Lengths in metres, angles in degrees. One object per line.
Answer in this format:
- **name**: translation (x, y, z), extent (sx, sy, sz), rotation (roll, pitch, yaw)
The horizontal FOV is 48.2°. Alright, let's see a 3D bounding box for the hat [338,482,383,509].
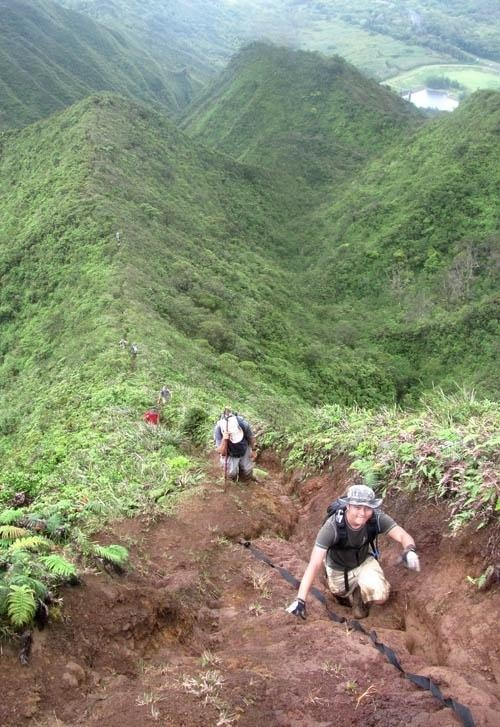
- **hat**: translation (0.962, 1.127, 4.829), extent (0.248, 0.121, 0.292), rotation (5, -11, 3)

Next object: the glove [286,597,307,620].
- **glove**: translation (0.394, 2.023, 4.640), extent (0.116, 0.349, 0.145), rotation (0, 69, 18)

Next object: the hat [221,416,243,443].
- **hat**: translation (-0.246, 0.906, 7.614), extent (0.250, 0.173, 0.335), rotation (-19, 68, -18)

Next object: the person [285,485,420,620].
- **person**: translation (1.049, 1.866, 5.429), extent (0.908, 1.110, 0.904), rotation (-8, 41, -7)

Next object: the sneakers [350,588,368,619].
- **sneakers**: translation (1.072, 2.359, 5.494), extent (0.101, 0.322, 0.175), rotation (-6, 4, -6)
